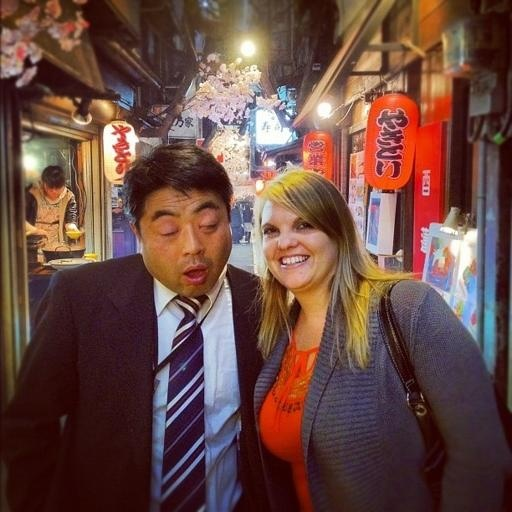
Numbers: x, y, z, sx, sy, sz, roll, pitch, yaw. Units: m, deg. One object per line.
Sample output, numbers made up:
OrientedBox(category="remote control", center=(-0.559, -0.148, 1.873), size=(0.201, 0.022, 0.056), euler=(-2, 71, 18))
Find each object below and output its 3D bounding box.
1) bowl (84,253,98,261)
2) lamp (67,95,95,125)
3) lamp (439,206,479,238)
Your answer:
OrientedBox(category="bowl", center=(-1.593, 0.007, 4.425), size=(0.073, 0.079, 0.080), euler=(-1, 4, -5))
OrientedBox(category="lamp", center=(-0.720, -0.612, 1.902), size=(0.088, 0.106, 0.097), euler=(13, -42, -23))
OrientedBox(category="lamp", center=(1.296, -0.216, 2.901), size=(0.194, 0.165, 0.119), euler=(12, -6, -9))
